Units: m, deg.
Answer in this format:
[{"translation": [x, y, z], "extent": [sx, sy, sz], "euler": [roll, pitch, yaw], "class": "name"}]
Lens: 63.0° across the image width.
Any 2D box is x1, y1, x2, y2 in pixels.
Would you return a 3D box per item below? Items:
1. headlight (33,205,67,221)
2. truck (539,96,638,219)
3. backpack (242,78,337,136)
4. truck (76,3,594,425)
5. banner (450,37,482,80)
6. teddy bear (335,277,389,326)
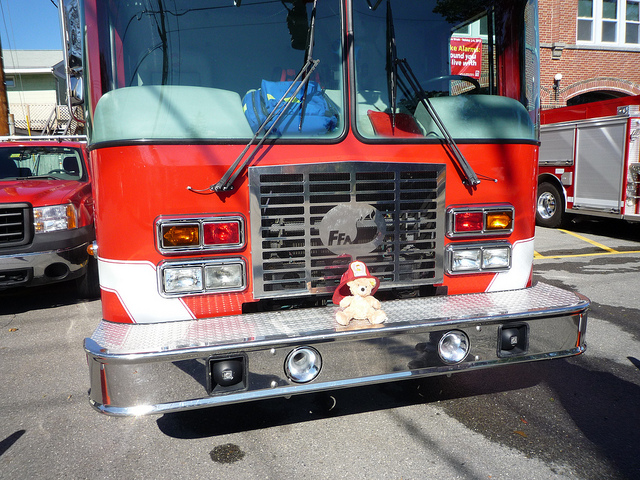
[{"translation": [-2.995, -0.301, 5.764], "extent": [0.322, 0.113, 0.054], "euler": [-7, 5, -42], "class": "headlight"}, {"translation": [5.415, -1.603, 10.436], "extent": [1.022, 1.351, 2.655], "euler": [-2, 4, -11], "class": "truck"}, {"translation": [-0.217, -0.915, 3.640], "extent": [0.448, 0.491, 0.172], "euler": [-10, -9, -14], "class": "backpack"}, {"translation": [-0.578, -0.432, 5.123], "extent": [2.396, 2.239, 4.234], "euler": [-3, 5, -21], "class": "truck"}, {"translation": [1.167, -1.450, 4.193], "extent": [0.364, 0.398, 0.030], "euler": [3, -13, -17], "class": "banner"}, {"translation": [0.279, 0.406, 3.528], "extent": [0.358, 0.294, 0.199], "euler": [-4, 4, -4], "class": "teddy bear"}]
